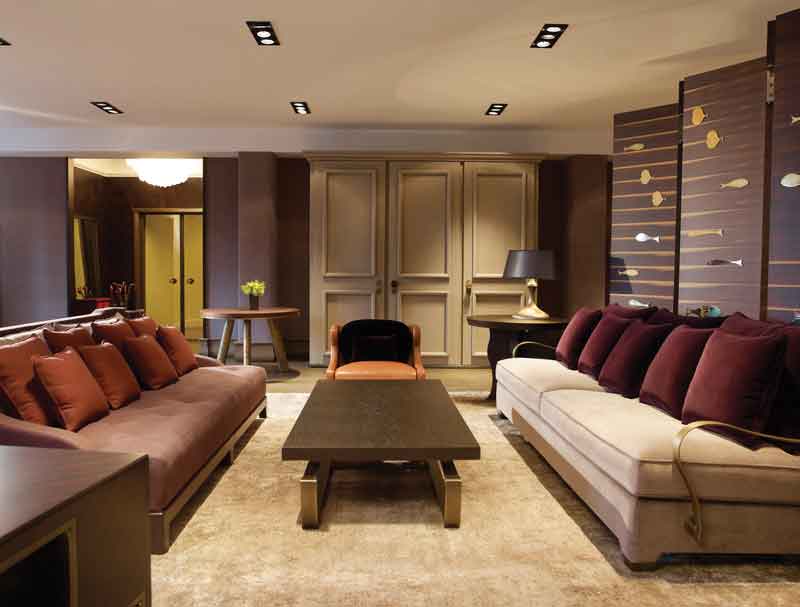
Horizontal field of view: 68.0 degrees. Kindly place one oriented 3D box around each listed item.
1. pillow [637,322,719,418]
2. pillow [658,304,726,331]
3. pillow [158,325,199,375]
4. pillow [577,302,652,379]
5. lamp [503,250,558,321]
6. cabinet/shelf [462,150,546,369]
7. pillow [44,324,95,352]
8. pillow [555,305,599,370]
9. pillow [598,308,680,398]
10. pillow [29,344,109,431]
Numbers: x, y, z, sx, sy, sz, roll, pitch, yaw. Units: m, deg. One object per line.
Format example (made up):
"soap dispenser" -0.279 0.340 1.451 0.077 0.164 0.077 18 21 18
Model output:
"pillow" 1.547 0.358 3.376 0.175 0.450 0.437 28 0 -10
"pillow" 1.944 0.093 3.919 0.323 0.161 0.087 -4 -43 44
"pillow" -1.761 0.374 4.711 0.174 0.386 0.313 -30 1 -17
"pillow" 1.430 0.230 4.131 0.148 0.489 0.495 18 3 -3
"lamp" 1.200 -0.138 5.603 0.655 0.826 0.645 1 -4 5
"cabinet/shelf" 1.151 -0.453 7.013 0.883 2.601 0.296 -1 22 4
"pillow" -1.995 0.212 3.559 0.050 0.119 0.147 -21 -8 21
"pillow" 1.331 0.240 4.528 0.168 0.411 0.401 18 7 -9
"pillow" 1.458 0.334 3.737 0.188 0.446 0.439 23 -10 -5
"pillow" -1.812 0.466 3.221 0.200 0.384 0.400 -6 4 5
